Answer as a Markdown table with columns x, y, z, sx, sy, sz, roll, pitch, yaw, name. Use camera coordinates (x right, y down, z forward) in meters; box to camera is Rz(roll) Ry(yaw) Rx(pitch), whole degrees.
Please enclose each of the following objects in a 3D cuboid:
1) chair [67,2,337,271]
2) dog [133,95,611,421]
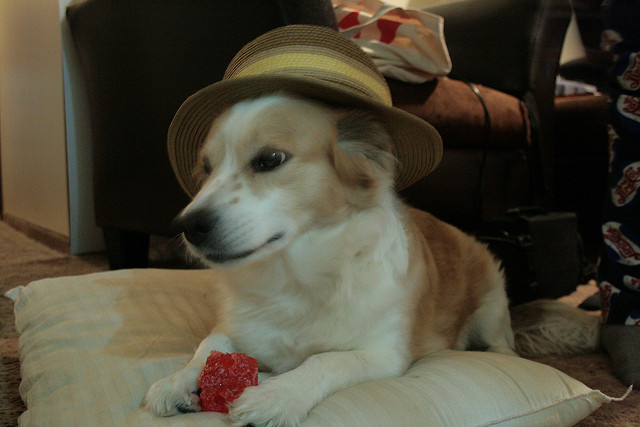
| x | y | z | sx | sy | sz | roll | pitch | yaw | name |
| --- | --- | --- | --- | --- | --- | --- | --- | --- | --- |
| -0.465 | -0.485 | 3.808 | 1.456 | 1.911 | 1.613 | -1 | -2 | 28 | chair |
| 0.219 | 0.248 | 2.576 | 1.146 | 0.809 | 1.501 | -9 | -18 | 32 | dog |
